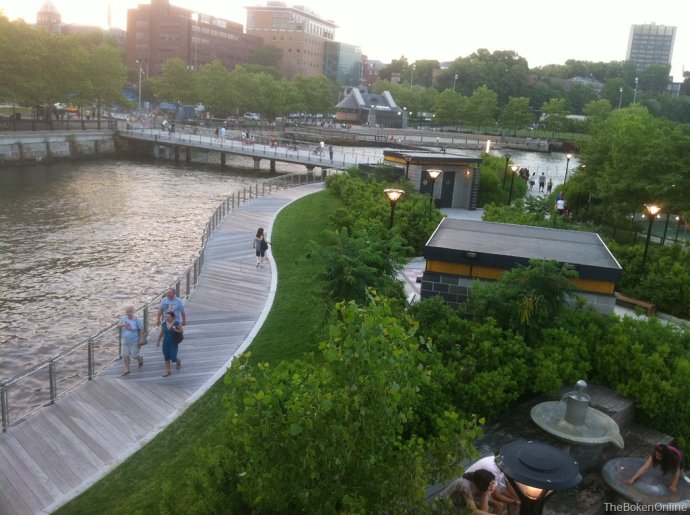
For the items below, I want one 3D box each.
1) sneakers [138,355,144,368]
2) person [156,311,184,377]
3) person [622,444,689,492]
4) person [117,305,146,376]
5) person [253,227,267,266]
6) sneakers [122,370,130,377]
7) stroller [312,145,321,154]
[{"bbox_3d":[-5.717,2.984,17.482,0.132,0.359,0.097,-1,9,-5],"label":"sneakers"},{"bbox_3d":[-4.818,2.270,17.332,0.528,1.946,0.987,-2,17,-17],"label":"person"},{"bbox_3d":[6.180,4.084,12.078,1.094,0.795,0.483,4,16,5],"label":"person"},{"bbox_3d":[-5.919,2.291,17.276,0.591,1.873,0.839,-3,17,-19],"label":"person"},{"bbox_3d":[-3.456,-0.538,25.991,0.534,1.681,1.399,0,17,-8],"label":"person"},{"bbox_3d":[-6.029,3.250,17.186,0.177,0.167,0.399,0,-1,-13],"label":"sneakers"},{"bbox_3d":[-2.574,-10.490,60.414,0.915,0.975,0.694,2,9,-5],"label":"stroller"}]
